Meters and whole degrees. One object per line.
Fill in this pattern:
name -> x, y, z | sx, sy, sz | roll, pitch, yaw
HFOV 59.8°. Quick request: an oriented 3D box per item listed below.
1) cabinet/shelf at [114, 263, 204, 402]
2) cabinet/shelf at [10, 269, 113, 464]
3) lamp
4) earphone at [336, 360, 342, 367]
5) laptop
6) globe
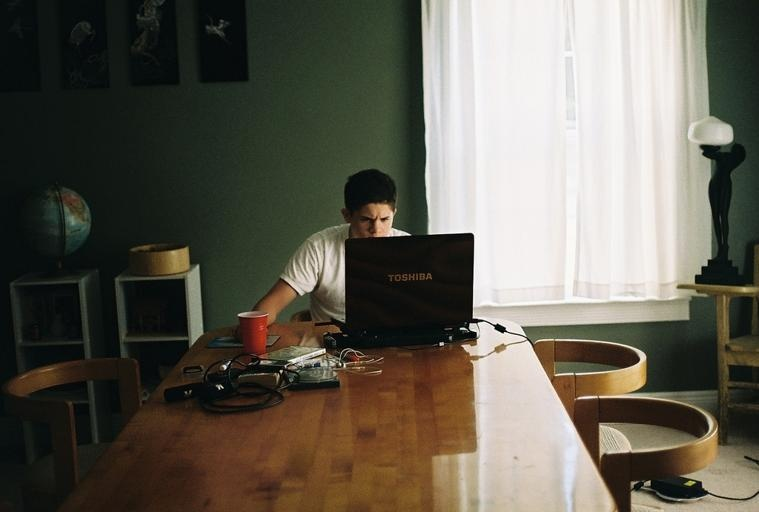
cabinet/shelf -> -1.431, 0.409, 4.373 | 0.512, 1.149, 0.491 | -1, 5, 1
cabinet/shelf -> -1.963, 0.691, 4.407 | 0.615, 1.379, 0.572 | -1, 4, -1
lamp -> 2.219, -0.368, 4.382 | 0.340, 1.083, 0.451 | 1, 7, 22
earphone -> -0.176, 0.478, 2.906 | 0.027, 0.026, 0.020 | 1, -14, -3
laptop -> 0.119, 0.154, 2.989 | 0.635, 0.471, 0.530 | -1, 5, -10
globe -> -2.091, -0.177, 4.218 | 0.418, 0.516, 0.423 | -2, 6, -9
